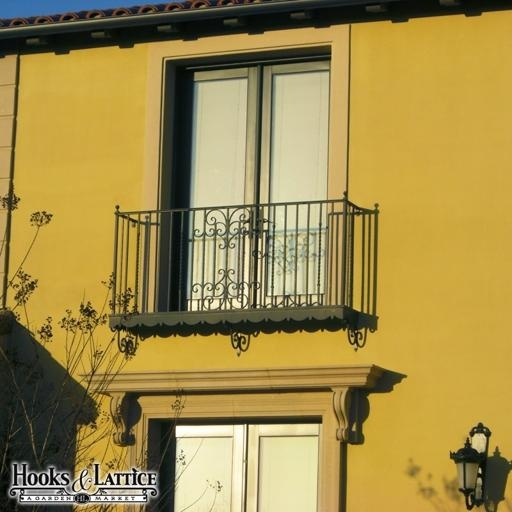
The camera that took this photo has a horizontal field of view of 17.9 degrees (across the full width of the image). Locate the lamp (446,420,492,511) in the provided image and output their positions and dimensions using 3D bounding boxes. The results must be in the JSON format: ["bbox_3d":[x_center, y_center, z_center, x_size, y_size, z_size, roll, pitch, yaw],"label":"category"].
[{"bbox_3d":[2.110,1.999,15.816,0.378,0.826,0.356,11,-23,-16],"label":"lamp"}]
